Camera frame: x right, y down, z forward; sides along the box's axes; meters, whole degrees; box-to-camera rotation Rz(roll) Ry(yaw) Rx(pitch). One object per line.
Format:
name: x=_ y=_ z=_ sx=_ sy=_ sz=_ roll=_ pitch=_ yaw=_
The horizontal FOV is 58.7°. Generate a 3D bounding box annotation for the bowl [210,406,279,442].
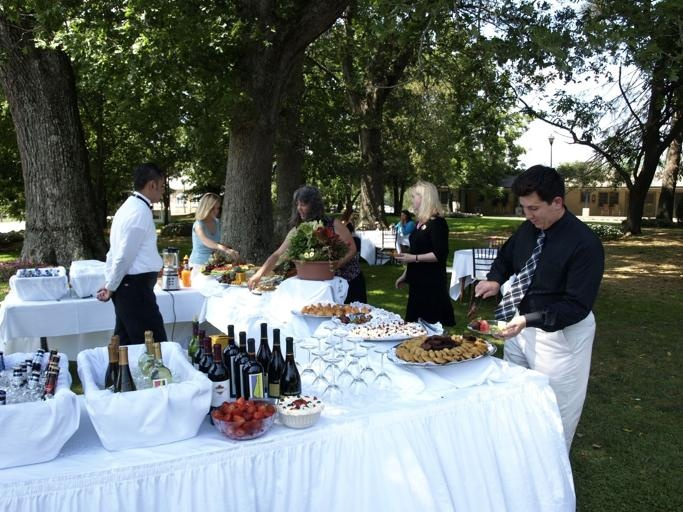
bowl: x=-0.577 y=1.077 z=3.809 sx=0.375 sy=0.160 sz=0.404 roll=-3 pitch=-16 yaw=-1

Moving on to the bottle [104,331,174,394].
bottle: x=-1.311 y=0.616 z=3.890 sx=0.352 sy=0.396 sz=0.378 roll=0 pitch=2 yaw=-19

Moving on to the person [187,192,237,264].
person: x=-1.650 y=-0.326 z=7.669 sx=0.514 sy=0.947 sz=0.799 roll=0 pitch=10 yaw=-30

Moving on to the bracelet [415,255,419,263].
bracelet: x=0.763 y=0.045 z=6.222 sx=0.032 sy=0.057 sz=0.057 roll=1 pitch=1 yaw=3

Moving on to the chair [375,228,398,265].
chair: x=1.224 y=-0.409 z=16.120 sx=0.496 sy=1.022 sz=0.631 roll=2 pitch=33 yaw=6

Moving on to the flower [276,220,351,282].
flower: x=-0.216 y=-0.126 z=5.802 sx=0.495 sy=0.477 sz=0.606 roll=1 pitch=11 yaw=2

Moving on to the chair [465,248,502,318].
chair: x=2.306 y=0.455 z=9.878 sx=0.436 sy=1.128 sz=0.492 roll=3 pitch=1 yaw=-1

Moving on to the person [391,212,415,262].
person: x=1.613 y=-0.638 z=16.038 sx=0.645 sy=1.136 sz=0.589 roll=-6 pitch=11 yaw=-32

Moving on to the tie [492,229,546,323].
tie: x=1.356 y=0.238 z=4.589 sx=0.202 sy=0.949 sz=0.081 roll=18 pitch=7 yaw=29
